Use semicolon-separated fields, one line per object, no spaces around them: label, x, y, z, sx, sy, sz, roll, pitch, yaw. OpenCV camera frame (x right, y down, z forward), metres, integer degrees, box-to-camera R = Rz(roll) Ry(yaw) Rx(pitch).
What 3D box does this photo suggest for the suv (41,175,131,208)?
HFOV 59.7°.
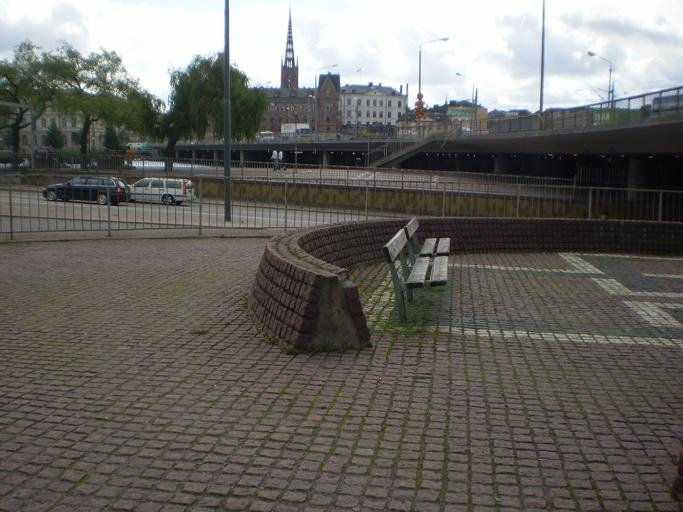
suv;-7.863;-1.804;18.161;2.817;0.962;1.435;6;10;13
